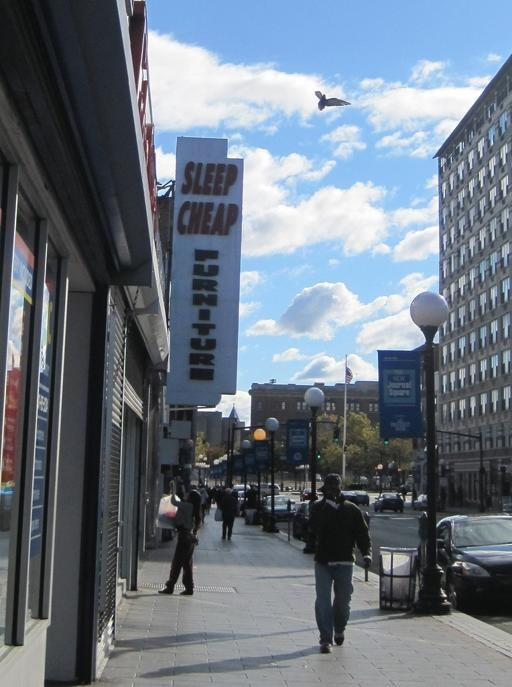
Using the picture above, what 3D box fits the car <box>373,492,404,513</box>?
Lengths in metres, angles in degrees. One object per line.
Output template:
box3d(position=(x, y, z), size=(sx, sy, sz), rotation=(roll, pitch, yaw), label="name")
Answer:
box3d(position=(11.795, 14.019, 57.383), size=(1.771, 1.496, 2.634), rotation=(4, -16, -8), label="car")

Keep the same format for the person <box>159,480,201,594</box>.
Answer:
box3d(position=(-1.297, 3.471, 11.551), size=(0.588, 1.771, 1.320), rotation=(3, -14, -5), label="person")

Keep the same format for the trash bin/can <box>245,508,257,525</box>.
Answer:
box3d(position=(-0.286, 10.024, 37.965), size=(0.618, 1.411, 0.665), rotation=(2, 0, 7), label="trash bin/can")

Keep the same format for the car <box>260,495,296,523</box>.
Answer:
box3d(position=(1.319, 8.995, 36.765), size=(1.508, 1.528, 2.822), rotation=(1, -17, -9), label="car")

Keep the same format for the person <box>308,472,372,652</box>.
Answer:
box3d(position=(0.947, 2.414, 7.298), size=(0.655, 1.865, 0.569), rotation=(4, -13, -12), label="person")
